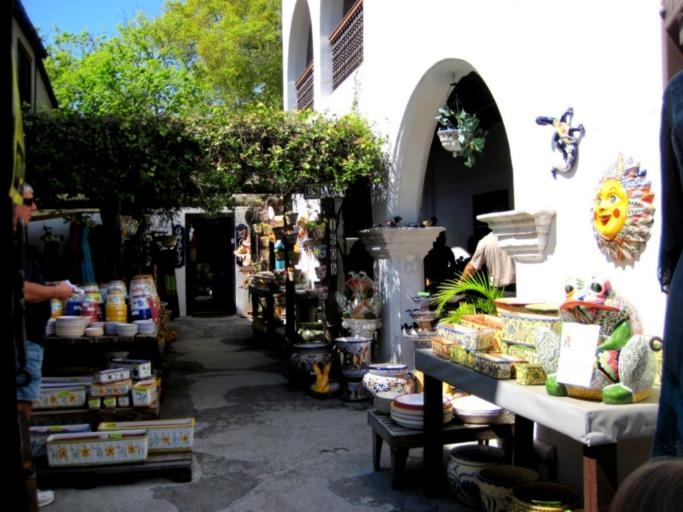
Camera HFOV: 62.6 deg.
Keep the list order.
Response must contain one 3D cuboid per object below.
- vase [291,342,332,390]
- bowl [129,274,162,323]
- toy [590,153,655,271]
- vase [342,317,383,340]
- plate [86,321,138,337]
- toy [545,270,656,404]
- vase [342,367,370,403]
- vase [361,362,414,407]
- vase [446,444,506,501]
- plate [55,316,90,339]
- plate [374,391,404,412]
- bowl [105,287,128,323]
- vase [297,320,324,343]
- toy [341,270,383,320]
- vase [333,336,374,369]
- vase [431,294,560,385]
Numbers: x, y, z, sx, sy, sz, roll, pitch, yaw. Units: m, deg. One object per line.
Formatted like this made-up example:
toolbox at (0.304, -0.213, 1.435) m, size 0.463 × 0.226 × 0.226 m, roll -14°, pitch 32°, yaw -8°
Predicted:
vase at (-0.420, 1.366, 7.166) m, size 0.506 × 0.527 × 0.510 m, roll 3°, pitch -5°, yaw -37°
bowl at (-2.337, 0.490, 6.638) m, size 0.320 × 0.525 × 0.491 m, roll -2°, pitch 2°, yaw -22°
toy at (1.771, -0.284, 3.518) m, size 0.120 × 0.715 × 0.404 m, roll -1°, pitch 2°, yaw -11°
vase at (0.261, 0.935, 7.472) m, size 0.335 × 0.261 × 0.350 m, roll 1°, pitch -3°, yaw -15°
plate at (-2.439, 0.777, 5.958) m, size 0.568 × 0.142 × 0.264 m, roll -1°, pitch 2°, yaw 3°
toy at (1.389, 0.436, 3.057) m, size 0.478 × 0.661 × 0.599 m, roll 2°, pitch -3°, yaw -26°
vase at (0.176, 1.546, 6.790) m, size 0.324 × 0.387 × 0.341 m, roll 0°, pitch -5°, yaw 9°
vase at (0.485, 1.294, 5.778) m, size 0.399 × 0.305 × 0.430 m, roll -1°, pitch -4°, yaw 5°
vase at (0.990, 1.563, 4.132) m, size 0.330 × 0.274 × 0.347 m, roll 2°, pitch -3°, yaw -11°
plate at (-2.785, 0.724, 5.829) m, size 0.222 × 0.156 × 0.245 m, roll -1°, pitch -4°, yaw 21°
plate at (0.404, 1.233, 4.840) m, size 0.188 × 0.079 × 0.172 m, roll 4°, pitch -5°, yaw -45°
bowl at (-2.533, 0.564, 6.308) m, size 0.225 × 0.384 × 0.365 m, roll -2°, pitch 2°, yaw -24°
vase at (-0.427, 1.109, 8.075) m, size 0.380 × 0.208 × 0.804 m, roll -1°, pitch 2°, yaw -5°
toy at (0.270, 0.540, 7.542) m, size 0.511 × 0.668 × 0.380 m, roll 0°, pitch -2°, yaw 26°
vase at (0.176, 1.265, 7.142) m, size 0.525 × 0.416 × 0.524 m, roll 1°, pitch -8°, yaw -36°
vase at (0.999, 0.508, 3.576) m, size 0.397 × 0.200 × 0.562 m, roll -2°, pitch 7°, yaw -16°
